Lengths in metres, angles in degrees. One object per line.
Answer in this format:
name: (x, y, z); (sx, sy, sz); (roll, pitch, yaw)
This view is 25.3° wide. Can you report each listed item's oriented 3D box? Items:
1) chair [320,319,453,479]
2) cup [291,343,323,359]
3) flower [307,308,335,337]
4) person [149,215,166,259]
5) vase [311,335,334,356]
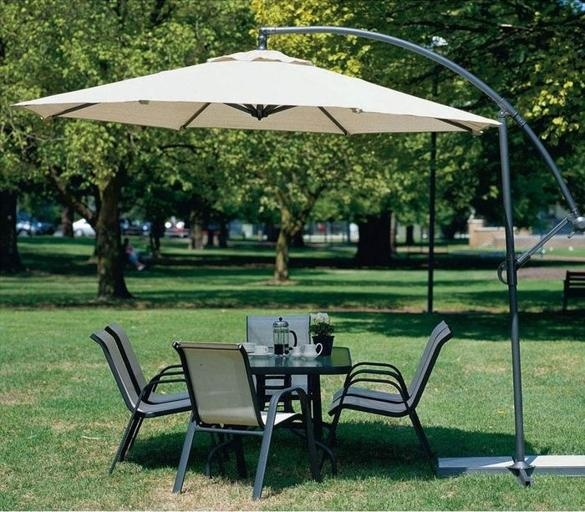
chair: (1.479, 1.939, 19.073); (1.966, 2.697, 1.634); (3, 1, 4)
cup: (0.192, 1.352, 18.283); (0.284, 0.133, 0.222); (-5, -5, 29)
flower: (0.431, 0.978, 18.748); (0.305, 0.395, 0.362); (-7, -10, 13)
person: (-5.990, -0.774, 58.803); (0.582, 2.438, 0.606); (6, 35, 3)
vase: (0.460, 1.280, 18.456); (0.254, 0.216, 0.269); (0, -4, -3)
